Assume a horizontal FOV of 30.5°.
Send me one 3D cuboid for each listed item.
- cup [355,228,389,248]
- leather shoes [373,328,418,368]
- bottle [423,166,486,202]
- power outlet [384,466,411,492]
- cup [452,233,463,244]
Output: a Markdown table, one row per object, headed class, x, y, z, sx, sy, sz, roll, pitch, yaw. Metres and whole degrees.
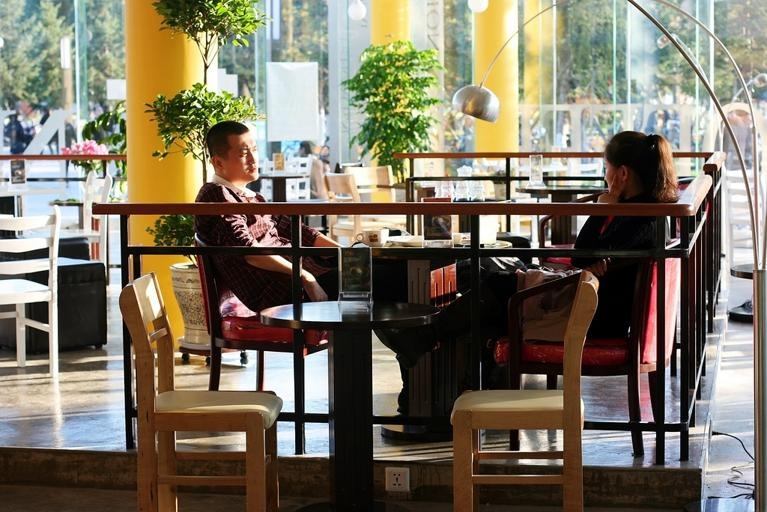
| class | x | y | z | sx | sy | sz | roll | pitch | yaw |
| --- | --- | --- | --- | --- | --- | --- | --- | --- | --- |
| cup | -0.092 | -0.101 | 9.038 | 0.175 | 0.104 | 0.125 | -1 | 1 | 3 |
| leather shoes | 0.074 | 0.574 | 8.950 | 0.219 | 0.297 | 0.094 | -10 | 18 | 31 |
| bottle | 0.625 | -0.512 | 11.257 | 0.416 | 0.269 | 0.403 | 0 | 0 | 0 |
| power outlet | 0.090 | 1.396 | 8.845 | 0.172 | 0.158 | 0.017 | 1 | 2 | 4 |
| cup | 0.500 | -0.103 | 9.299 | 0.073 | 0.069 | 0.064 | 1 | 0 | 18 |
